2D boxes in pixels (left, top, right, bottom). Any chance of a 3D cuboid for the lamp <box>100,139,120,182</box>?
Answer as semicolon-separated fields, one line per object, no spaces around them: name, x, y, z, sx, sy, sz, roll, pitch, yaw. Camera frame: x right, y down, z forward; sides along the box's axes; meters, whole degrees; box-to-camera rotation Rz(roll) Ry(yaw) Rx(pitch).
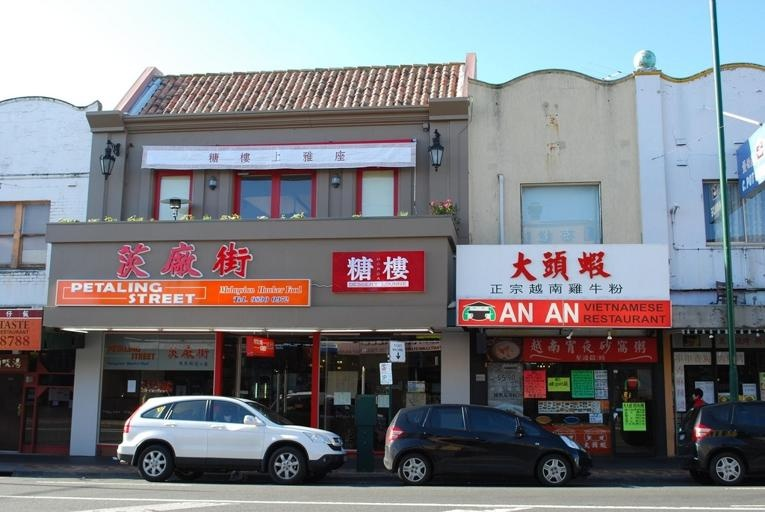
lamp;-8.657;-3.128;27.878;0.584;1.259;0.588;-3;-12;13

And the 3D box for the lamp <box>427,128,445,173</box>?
lamp;1.667;-3.348;27.161;0.508;1.306;0.536;-1;-12;3

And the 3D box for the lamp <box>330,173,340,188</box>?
lamp;-1.442;-2.356;27.411;0.323;0.448;0.219;1;-12;-8

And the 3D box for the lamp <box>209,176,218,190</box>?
lamp;-5.311;-2.316;27.686;0.283;0.418;0.217;0;-11;-4

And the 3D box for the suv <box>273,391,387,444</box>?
suv;-1.474;5.029;27.359;2.954;1.374;1.611;-2;-9;11

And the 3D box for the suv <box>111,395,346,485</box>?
suv;-3.722;4.966;23.756;5.557;1.846;2.444;-2;-11;3

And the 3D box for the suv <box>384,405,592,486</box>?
suv;2.549;4.952;23.380;4.361;1.449;2.284;-1;-10;3
